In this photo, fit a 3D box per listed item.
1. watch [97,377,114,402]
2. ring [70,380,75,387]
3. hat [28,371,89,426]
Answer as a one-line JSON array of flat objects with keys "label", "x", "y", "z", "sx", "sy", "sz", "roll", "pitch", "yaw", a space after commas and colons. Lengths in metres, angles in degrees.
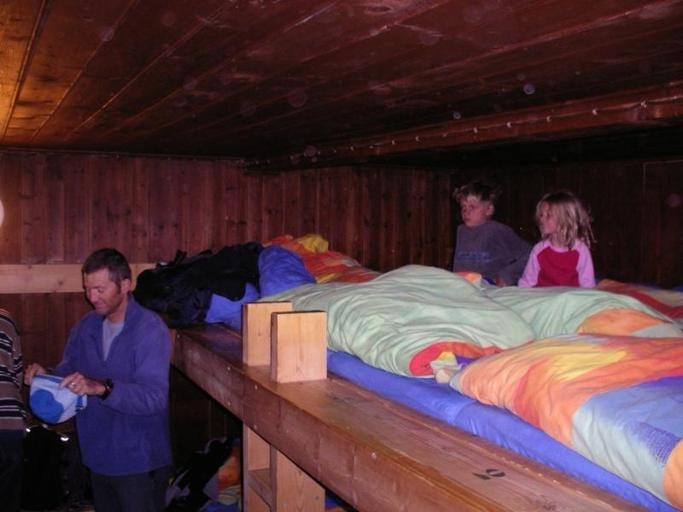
[{"label": "watch", "x": -0.993, "y": 0.561, "z": 2.301, "sx": 0.058, "sy": 0.078, "sz": 0.085, "roll": 18, "pitch": 29, "yaw": 10}, {"label": "ring", "x": -1.086, "y": 0.516, "z": 2.188, "sx": 0.020, "sy": 0.018, "sz": 0.005, "roll": -32, "pitch": 7, "yaw": -25}, {"label": "hat", "x": -1.177, "y": 0.589, "z": 2.224, "sx": 0.226, "sy": 0.202, "sz": 0.093, "roll": 1, "pitch": 0, "yaw": 0}]
